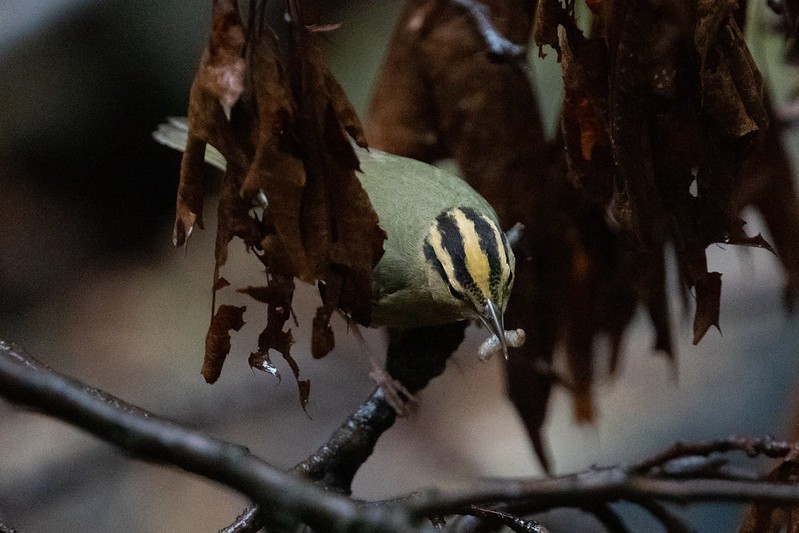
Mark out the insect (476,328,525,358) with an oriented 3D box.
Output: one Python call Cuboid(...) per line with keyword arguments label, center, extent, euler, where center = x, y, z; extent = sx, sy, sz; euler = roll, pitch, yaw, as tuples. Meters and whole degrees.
Cuboid(label="insect", center=(0.326, 0.252, 3.543), extent=(0.146, 0.045, 0.090), euler=(-29, 95, -13))
